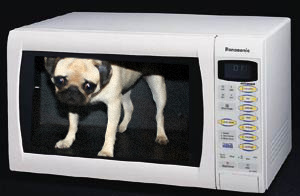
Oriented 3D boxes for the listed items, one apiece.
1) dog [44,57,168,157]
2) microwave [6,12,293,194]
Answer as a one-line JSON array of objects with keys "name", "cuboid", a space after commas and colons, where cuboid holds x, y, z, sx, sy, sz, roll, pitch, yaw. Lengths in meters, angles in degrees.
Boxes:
[{"name": "dog", "cuboid": [-0.146, -0.005, 1.453, 0.261, 0.406, 0.714, 11, 12, 26]}, {"name": "microwave", "cuboid": [0.011, 0.022, 1.270, 1.054, 0.573, 0.734, 3, 11, 21]}]
